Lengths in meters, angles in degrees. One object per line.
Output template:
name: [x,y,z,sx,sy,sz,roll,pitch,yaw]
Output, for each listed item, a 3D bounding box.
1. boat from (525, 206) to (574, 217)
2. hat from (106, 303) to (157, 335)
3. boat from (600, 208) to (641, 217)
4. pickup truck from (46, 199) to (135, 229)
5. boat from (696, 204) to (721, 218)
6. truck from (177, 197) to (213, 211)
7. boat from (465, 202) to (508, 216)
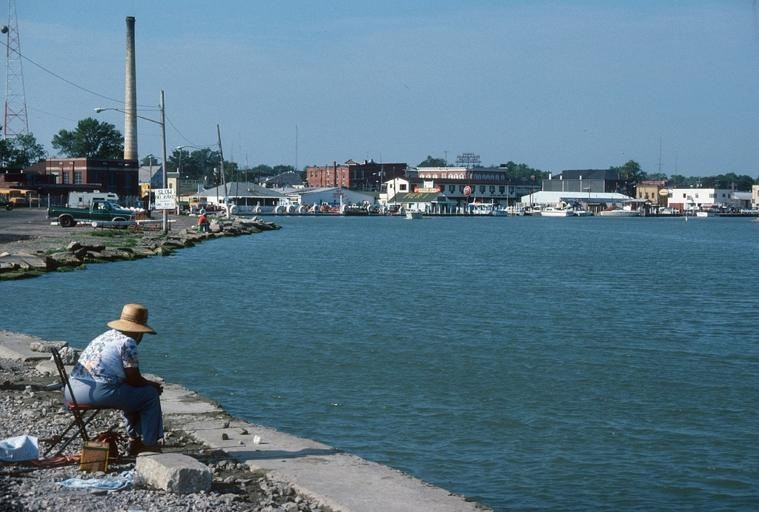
boat: [30.578,-8.056,199.355,7.783,1.761,13.769,2,4,-1]
hat: [-4.927,1.223,21.482,0.926,0.379,0.787,10,0,6]
boat: [45.473,-8.350,211.823,6.725,1.553,8.613,1,4,-16]
pickup truck: [-20.745,-2.982,78.329,5.454,1.342,2.345,-1,4,-18]
boat: [65.001,-8.943,219.026,4.323,2.312,12.587,3,4,17]
truck: [-27.720,-7.881,166.829,4.094,1.354,50.449,1,4,-10]
boat: [18.018,-8.161,193.430,3.867,2.013,9.133,5,5,37]
